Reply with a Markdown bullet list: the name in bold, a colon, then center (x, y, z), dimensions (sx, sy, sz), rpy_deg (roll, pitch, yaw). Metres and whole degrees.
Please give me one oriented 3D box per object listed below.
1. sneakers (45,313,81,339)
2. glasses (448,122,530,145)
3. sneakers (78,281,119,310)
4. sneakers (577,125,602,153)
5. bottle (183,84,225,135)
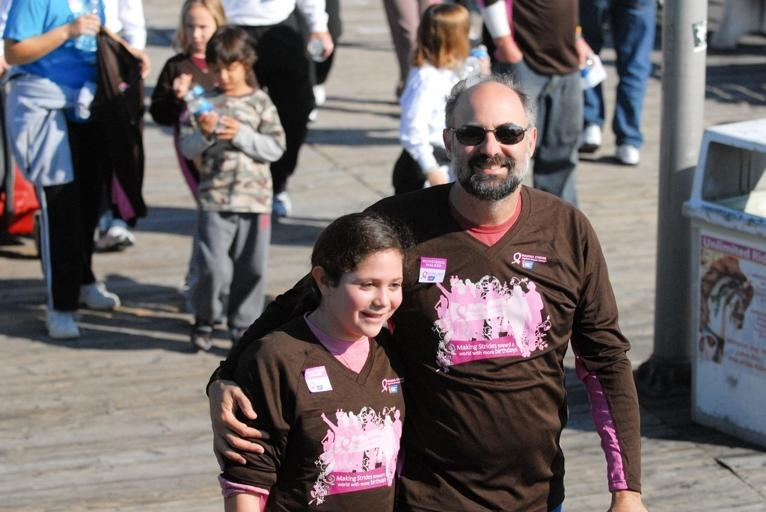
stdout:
- **sneakers**: center (-2.176, 0.480, 9.756), dimensions (0.143, 0.152, 0.237), rpy_deg (2, -3, -32)
- **glasses**: center (0.563, -0.628, 7.449), dimensions (0.371, 0.119, 0.071), rpy_deg (1, 15, -1)
- **sneakers**: center (-2.008, 0.276, 10.195), dimensions (0.321, 0.134, 0.140), rpy_deg (9, 38, 1)
- **sneakers**: center (1.857, -1.029, 12.739), dimensions (0.172, 0.186, 0.456), rpy_deg (1, 9, 1)
- **bottle**: center (-1.190, -0.983, 9.571), dimensions (0.280, 0.260, 0.093), rpy_deg (-13, -18, 15)
